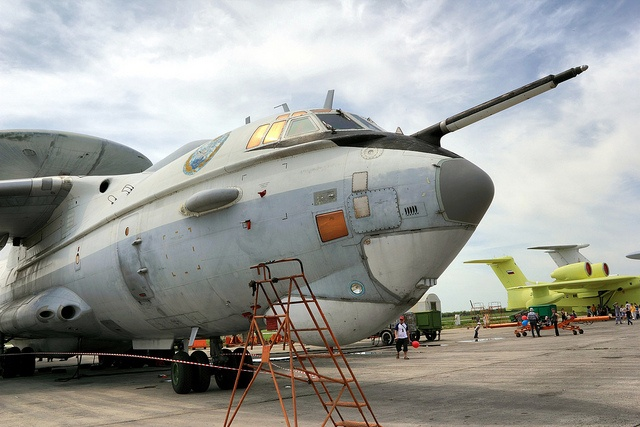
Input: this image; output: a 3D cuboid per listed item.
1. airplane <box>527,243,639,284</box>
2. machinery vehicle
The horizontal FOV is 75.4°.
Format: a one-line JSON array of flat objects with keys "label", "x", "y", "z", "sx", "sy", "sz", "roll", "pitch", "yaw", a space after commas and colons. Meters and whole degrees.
[{"label": "airplane", "x": 23.915, "y": 5.041, "z": 37.549, "sx": 8.200, "sy": 1.808, "sz": 8.040, "roll": 2, "pitch": -9, "yaw": -44}, {"label": "machinery vehicle", "x": 7.701, "y": 8.705, "z": 33.295, "sx": 5.664, "sy": 2.817, "sz": 3.229, "roll": -17, "pitch": -26, "yaw": 36}]
